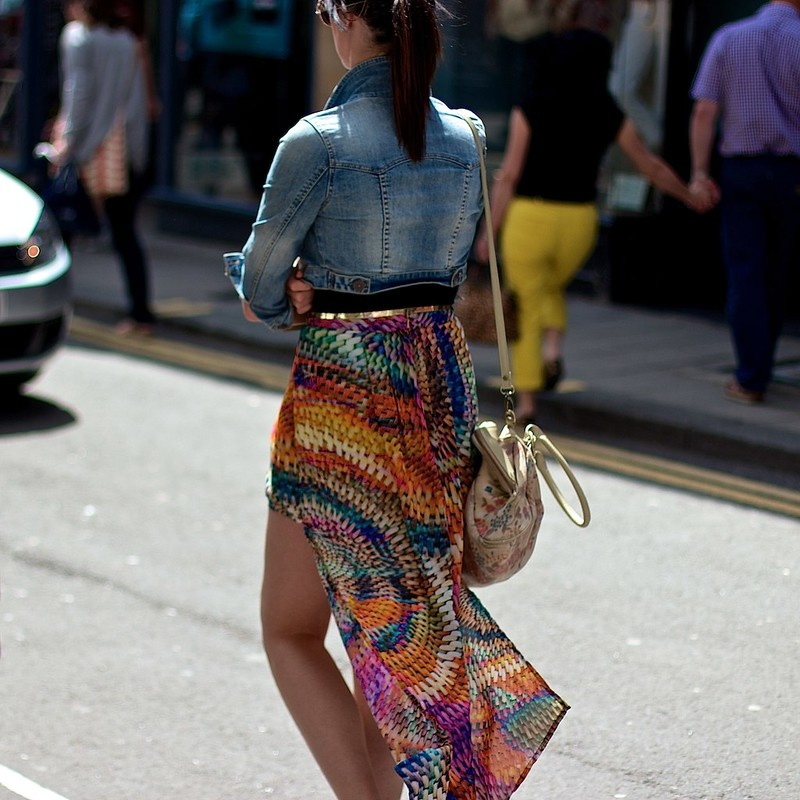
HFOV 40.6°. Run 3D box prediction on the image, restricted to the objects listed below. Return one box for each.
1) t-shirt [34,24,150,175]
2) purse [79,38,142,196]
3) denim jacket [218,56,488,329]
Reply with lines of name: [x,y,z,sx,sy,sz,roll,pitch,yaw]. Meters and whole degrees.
t-shirt: [-2.022,-2.045,7.340,0.686,0.979,0.409,-9,25,-22]
purse: [-1.936,-1.960,7.439,0.304,1.157,0.326,6,3,5]
denim jacket: [-0.061,-0.375,1.988,0.224,0.490,0.464,20,29,39]
